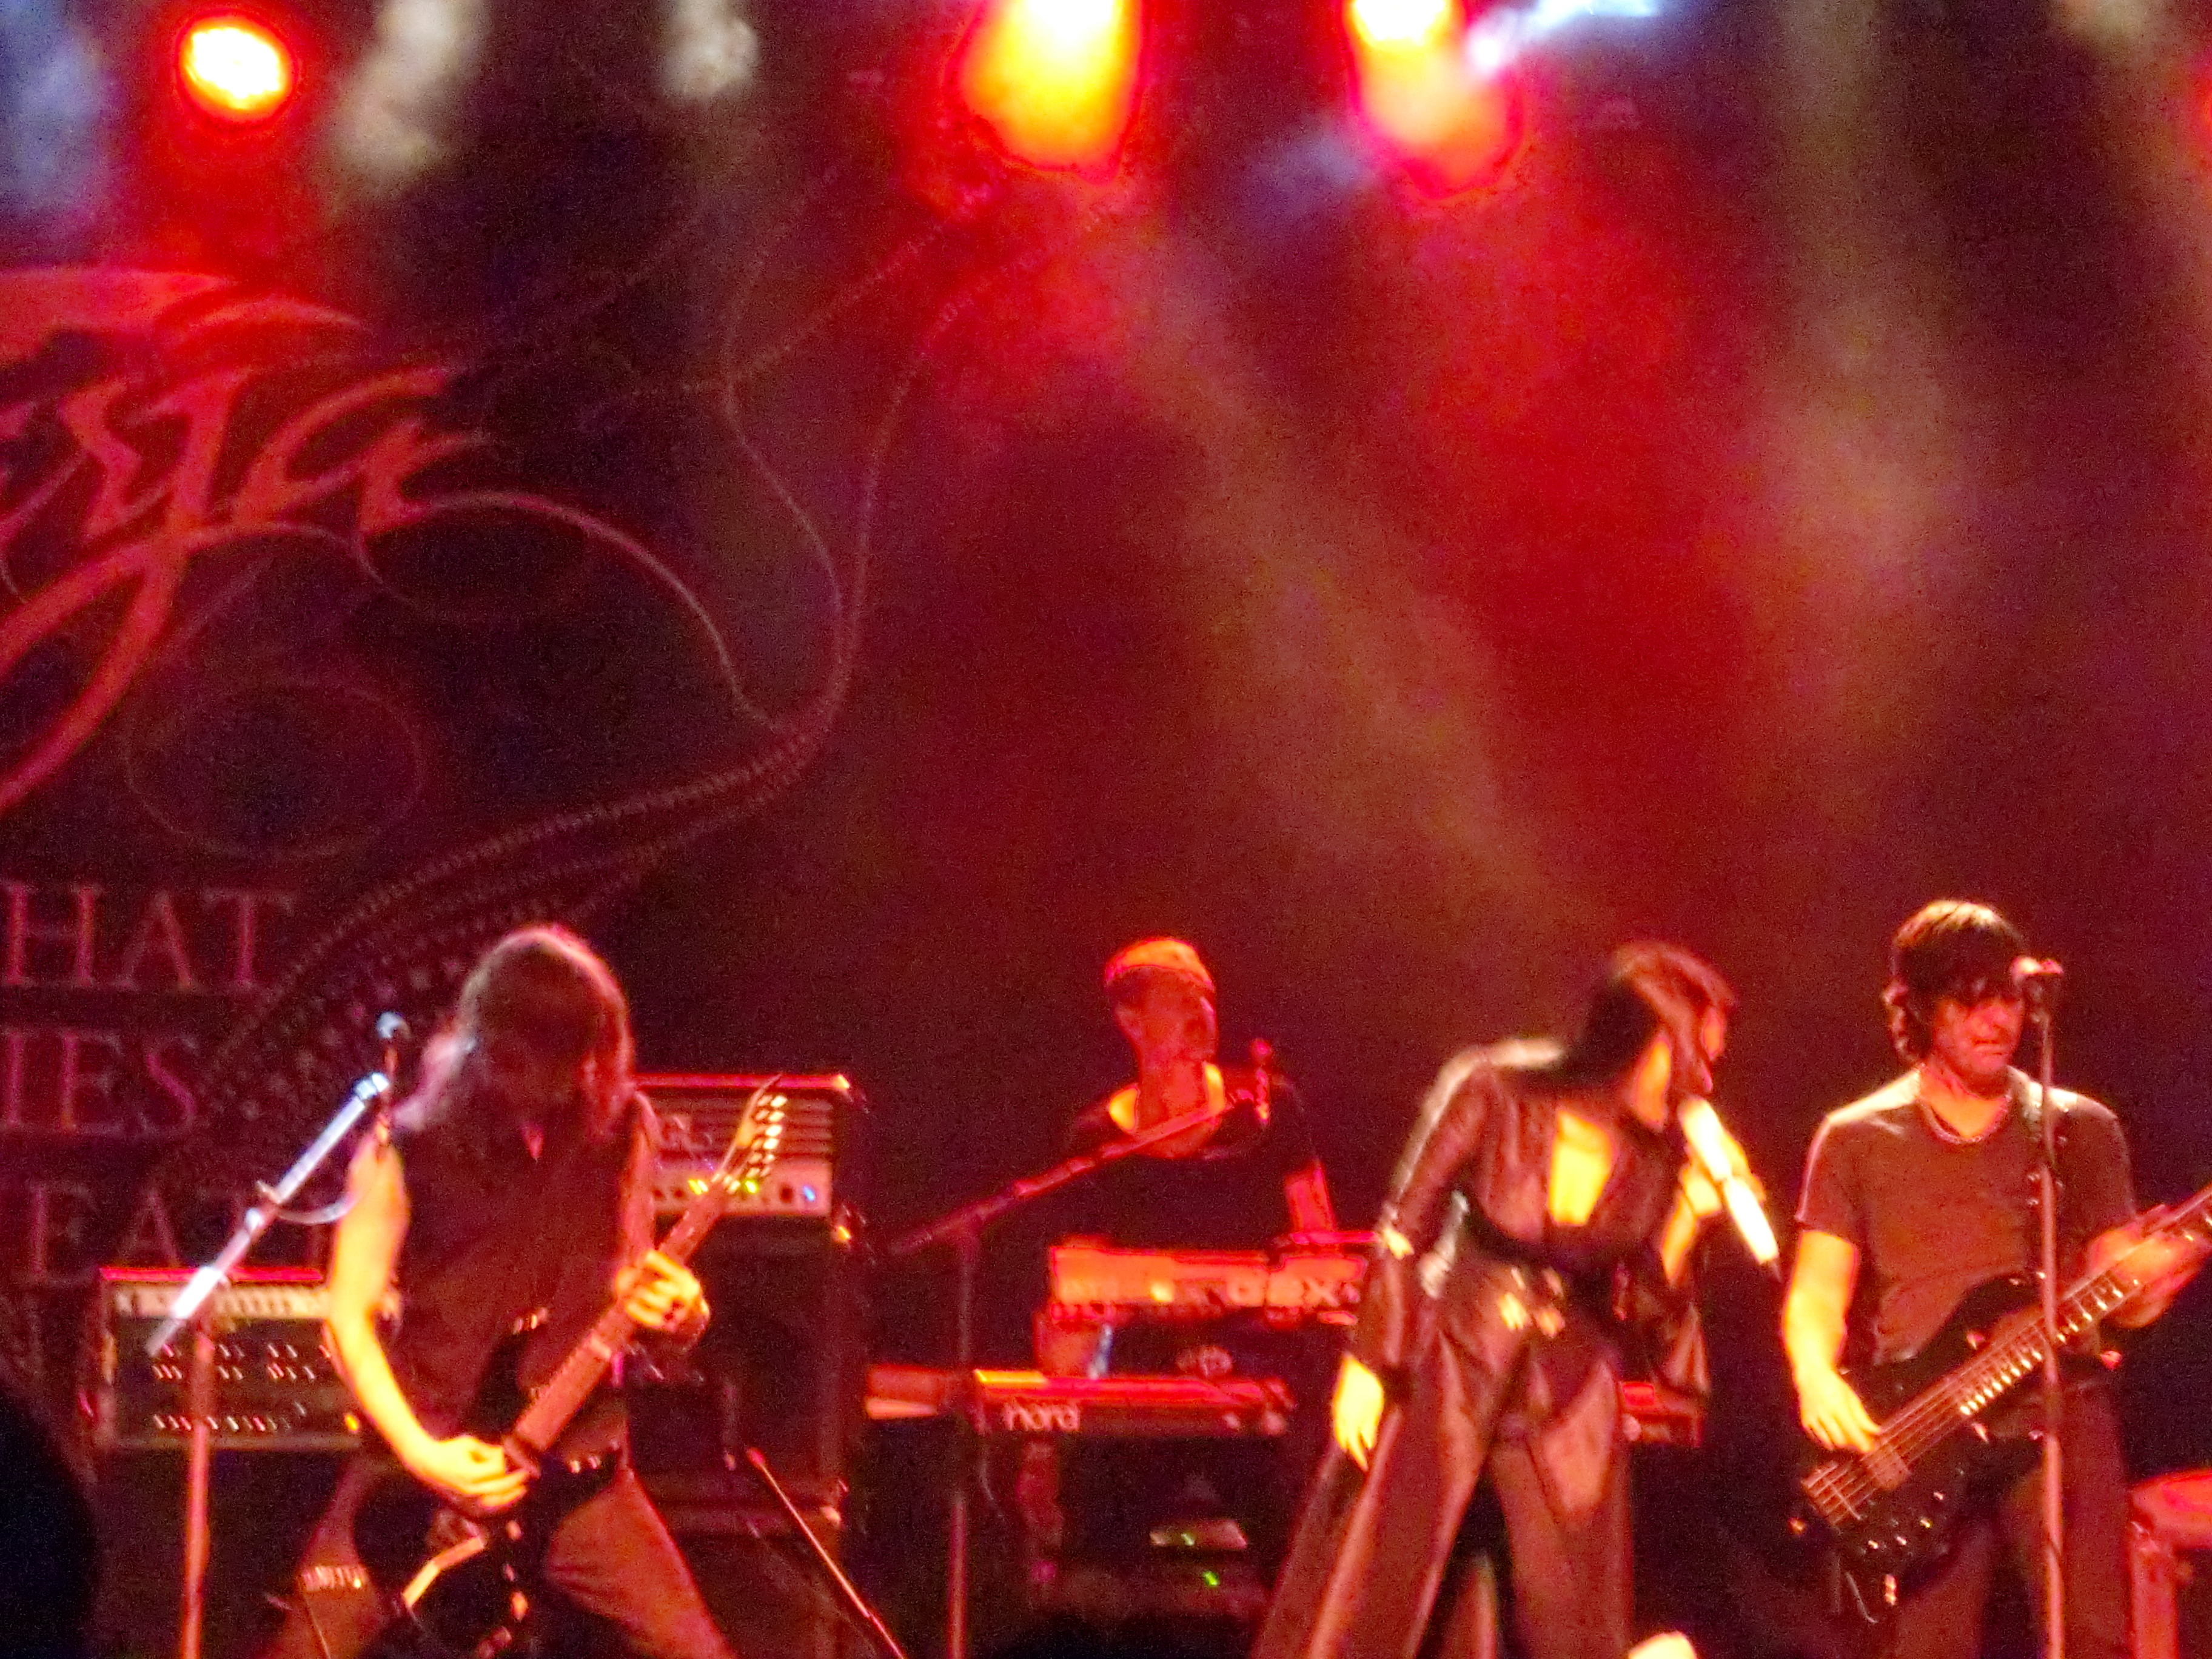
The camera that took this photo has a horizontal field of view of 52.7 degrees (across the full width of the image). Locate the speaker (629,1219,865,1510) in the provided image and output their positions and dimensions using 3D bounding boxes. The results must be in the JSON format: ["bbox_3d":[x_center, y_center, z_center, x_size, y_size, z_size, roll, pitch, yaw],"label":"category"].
[{"bbox_3d":[-0.932,1.267,5.795,0.550,0.467,0.870,1,-67,-10],"label":"speaker"}]

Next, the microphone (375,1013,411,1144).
[{"bbox_3d":[-1.771,0.622,5.506,0.077,0.077,0.303,8,-37,-2],"label":"microphone"}]

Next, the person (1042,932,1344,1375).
[{"bbox_3d":[0.236,0.982,6.408,0.940,1.300,0.722,-13,-38,4],"label":"person"}]

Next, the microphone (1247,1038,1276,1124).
[{"bbox_3d":[0.423,0.740,6.339,0.078,0.095,0.263,1,-70,13],"label":"microphone"}]

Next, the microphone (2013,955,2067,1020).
[{"bbox_3d":[2.079,0.372,4.960,0.116,0.181,0.148,-1,-4,17],"label":"microphone"}]
